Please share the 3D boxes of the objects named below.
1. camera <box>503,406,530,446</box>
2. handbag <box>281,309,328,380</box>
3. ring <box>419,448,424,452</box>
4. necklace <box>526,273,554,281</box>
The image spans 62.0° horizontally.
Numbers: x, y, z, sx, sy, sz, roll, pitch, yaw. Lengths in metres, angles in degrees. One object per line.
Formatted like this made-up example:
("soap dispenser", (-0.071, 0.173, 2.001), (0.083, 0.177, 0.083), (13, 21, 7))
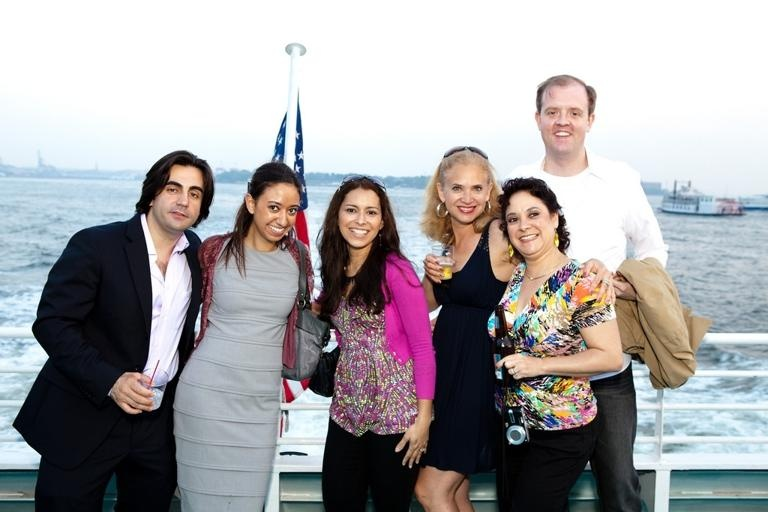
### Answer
("camera", (1.048, 1.341, 5.074), (0.192, 0.284, 0.128), (2, 5, 11))
("handbag", (-0.670, 0.754, 5.386), (0.301, 0.529, 0.479), (16, -9, 13))
("ring", (0.307, 1.580, 5.232), (0.042, 0.038, 0.010), (2, 4, -26))
("necklace", (1.242, 0.173, 5.154), (0.092, 0.023, 0.093), (-18, -39, 41))
